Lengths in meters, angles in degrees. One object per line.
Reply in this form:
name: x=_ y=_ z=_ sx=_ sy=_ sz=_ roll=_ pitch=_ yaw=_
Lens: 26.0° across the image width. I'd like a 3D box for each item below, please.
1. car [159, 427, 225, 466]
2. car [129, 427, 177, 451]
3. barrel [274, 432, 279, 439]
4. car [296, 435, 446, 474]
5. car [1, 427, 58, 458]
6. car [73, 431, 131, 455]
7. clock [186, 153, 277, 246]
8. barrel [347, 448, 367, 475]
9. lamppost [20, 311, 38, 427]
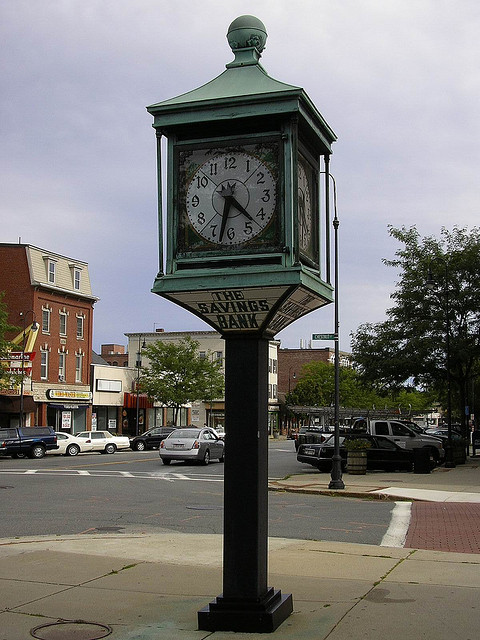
car: x=-1.380 y=3.769 z=31.343 sx=1.126 sy=1.071 sz=2.086 roll=-4 pitch=-8 yaw=30
car: x=-4.208 y=5.520 z=49.164 sx=2.760 sy=1.137 sz=1.294 roll=-1 pitch=-6 yaw=-24
barrel: x=3.322 y=10.541 z=95.889 sx=0.557 sy=0.703 sz=0.584 roll=-2 pitch=-4 yaw=0
car: x=3.296 y=3.636 z=27.873 sx=2.788 sy=0.735 sz=1.717 roll=-1 pitch=-3 yaw=-10
car: x=-7.821 y=4.446 z=38.176 sx=0.980 sy=0.719 sz=1.865 roll=-9 pitch=-13 yaw=43
car: x=-5.900 y=5.150 z=44.388 sx=0.912 sy=0.734 sz=2.236 roll=-8 pitch=-12 yaw=43
clock: x=-0.035 y=-1.000 z=8.675 sx=0.704 sy=0.794 sz=0.040 roll=1 pitch=-6 yaw=17
barrel: x=2.982 y=3.580 z=26.506 sx=0.569 sy=0.827 sz=0.555 roll=-2 pitch=-5 yaw=0
lamppost: x=-9.447 y=1.670 z=46.720 sx=0.545 sy=6.160 sz=0.806 roll=0 pitch=-5 yaw=-15
